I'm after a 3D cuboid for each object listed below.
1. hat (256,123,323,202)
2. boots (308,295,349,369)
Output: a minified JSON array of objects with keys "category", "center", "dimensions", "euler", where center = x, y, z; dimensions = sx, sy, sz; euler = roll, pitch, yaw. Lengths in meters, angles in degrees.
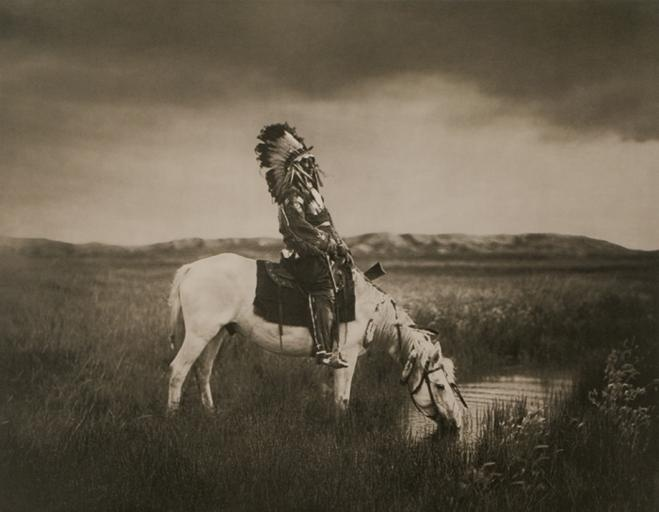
[{"category":"hat","center":[-0.335,-0.794,8.889],"dimensions":[0.579,0.228,0.551],"euler":[-33,-24,20]},{"category":"boots","center":[-0.011,0.592,8.758],"dimensions":[0.308,0.582,0.133],"euler":[0,-5,0]}]
